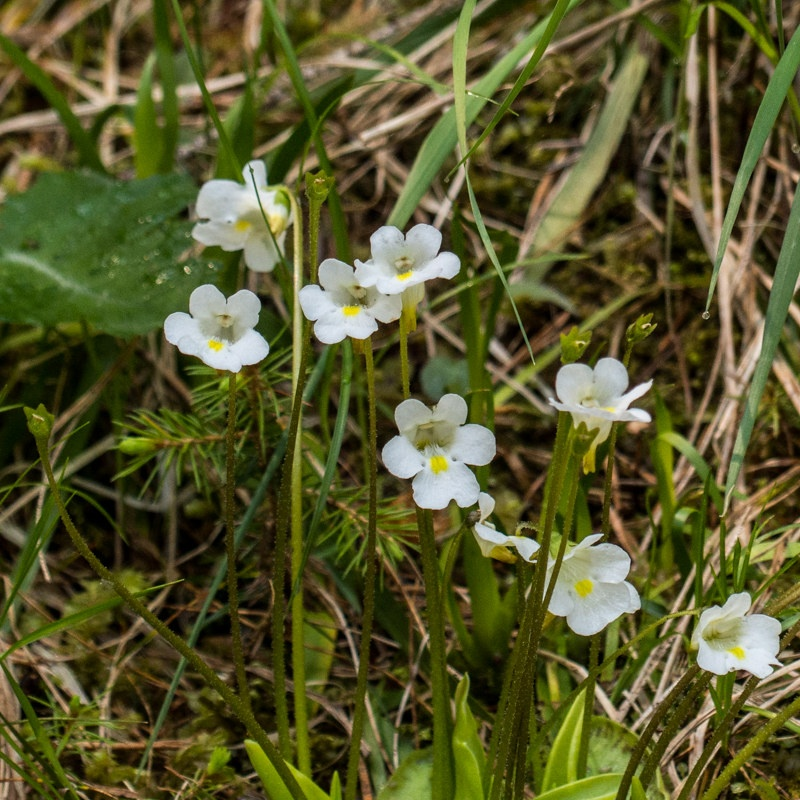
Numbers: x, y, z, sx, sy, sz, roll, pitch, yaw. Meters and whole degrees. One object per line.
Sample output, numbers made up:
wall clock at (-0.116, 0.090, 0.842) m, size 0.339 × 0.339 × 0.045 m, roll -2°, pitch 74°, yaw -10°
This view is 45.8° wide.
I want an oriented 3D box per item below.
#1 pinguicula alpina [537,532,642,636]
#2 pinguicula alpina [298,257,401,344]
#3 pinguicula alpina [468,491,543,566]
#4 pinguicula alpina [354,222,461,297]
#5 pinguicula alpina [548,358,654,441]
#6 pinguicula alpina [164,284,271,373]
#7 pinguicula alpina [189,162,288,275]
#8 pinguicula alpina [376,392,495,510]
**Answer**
pinguicula alpina at (0.330, 0.319, 1.726) m, size 0.203 × 0.087 × 0.180 m, roll -5°, pitch 68°, yaw -34°
pinguicula alpina at (-0.101, -0.177, 1.695) m, size 0.170 × 0.080 × 0.170 m, roll -7°, pitch 78°, yaw 3°
pinguicula alpina at (0.185, 0.253, 1.735) m, size 0.135 × 0.130 × 0.061 m, roll 25°, pitch 84°, yaw 28°
pinguicula alpina at (0.024, -0.236, 1.773) m, size 0.158 × 0.076 × 0.154 m, roll -13°, pitch 80°, yaw 2°
pinguicula alpina at (0.350, 0.016, 1.677) m, size 0.160 × 0.222 × 0.152 m, roll 4°, pitch 58°, yaw 9°
pinguicula alpina at (-0.336, -0.126, 1.833) m, size 0.189 × 0.086 × 0.175 m, roll -32°, pitch 81°, yaw -12°
pinguicula alpina at (-0.353, -0.406, 2.129) m, size 0.226 × 0.246 × 0.148 m, roll -22°, pitch 101°, yaw 4°
pinguicula alpina at (0.065, 0.099, 1.750) m, size 0.206 × 0.071 × 0.224 m, roll 9°, pitch 63°, yaw -9°
